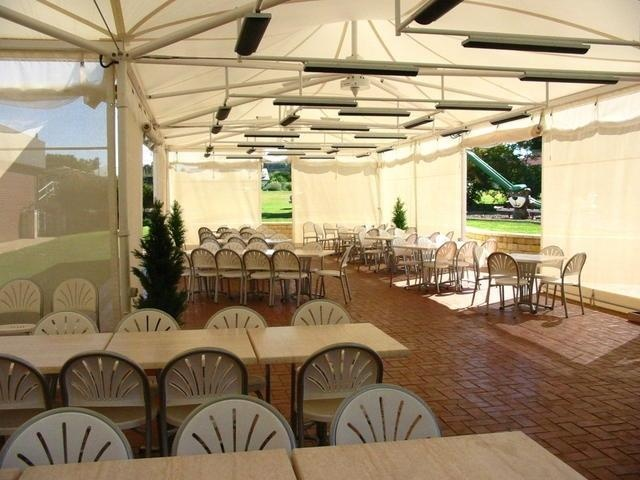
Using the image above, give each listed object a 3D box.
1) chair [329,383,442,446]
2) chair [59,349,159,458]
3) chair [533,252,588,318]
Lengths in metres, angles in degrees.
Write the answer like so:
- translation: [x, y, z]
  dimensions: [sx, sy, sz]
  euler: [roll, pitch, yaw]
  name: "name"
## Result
- translation: [0.298, 0.835, 2.092]
  dimensions: [0.385, 0.331, 0.341]
  euler: [-9, -30, -2]
  name: "chair"
- translation: [-1.426, 1.107, 3.064]
  dimensions: [0.627, 0.911, 0.657]
  euler: [5, 9, -14]
  name: "chair"
- translation: [4.560, 0.721, 8.302]
  dimensions: [0.794, 1.121, 1.868]
  euler: [4, 7, 29]
  name: "chair"
